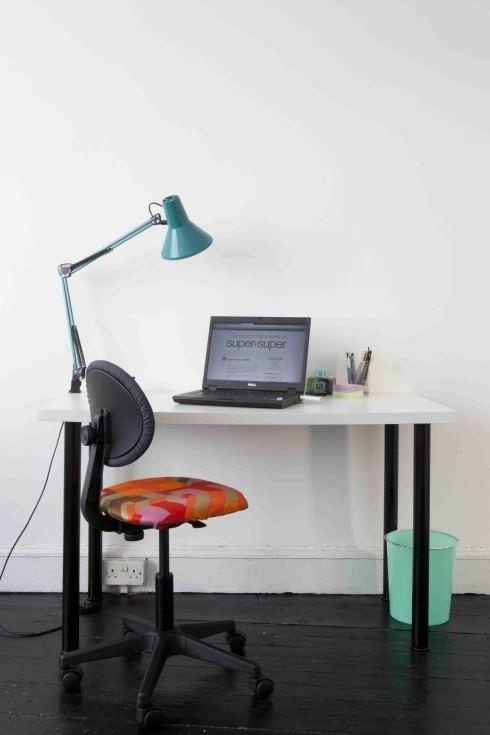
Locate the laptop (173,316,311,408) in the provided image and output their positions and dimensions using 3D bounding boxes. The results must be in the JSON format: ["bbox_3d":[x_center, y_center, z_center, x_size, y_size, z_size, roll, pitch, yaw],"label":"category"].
[{"bbox_3d":[-0.001,-0.024,2.218,0.407,0.259,0.334,3,7,34],"label":"laptop"}]

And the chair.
[{"bbox_3d":[-0.202,0.425,1.966,0.620,0.828,0.591,-1,-2,30],"label":"chair"}]

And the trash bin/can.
[{"bbox_3d":[0.500,0.638,2.308,0.269,0.275,0.280,0,6,0],"label":"trash bin/can"}]

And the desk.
[{"bbox_3d":[-0.076,0.525,2.228,1.397,0.837,0.755,-2,-7,14],"label":"desk"}]

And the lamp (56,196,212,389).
[{"bbox_3d":[-0.362,-0.271,2.453,0.650,0.777,0.270,2,35,-1],"label":"lamp"}]

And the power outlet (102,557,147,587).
[{"bbox_3d":[-0.420,0.701,2.470,0.162,0.098,0.093,2,7,1],"label":"power outlet"}]
